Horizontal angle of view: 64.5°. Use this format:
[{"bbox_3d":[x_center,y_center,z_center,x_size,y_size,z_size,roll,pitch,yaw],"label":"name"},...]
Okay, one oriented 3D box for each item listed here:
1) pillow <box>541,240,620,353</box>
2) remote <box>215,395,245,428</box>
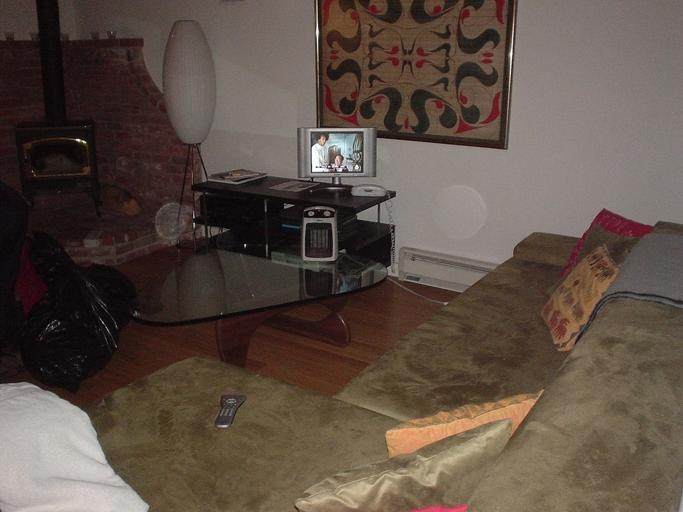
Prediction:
[{"bbox_3d":[1.074,0.202,2.300,0.087,0.444,0.298,34,6,-11],"label":"pillow"},{"bbox_3d":[-0.392,0.525,1.873,0.089,0.159,0.024,13,30,-23],"label":"remote"}]
